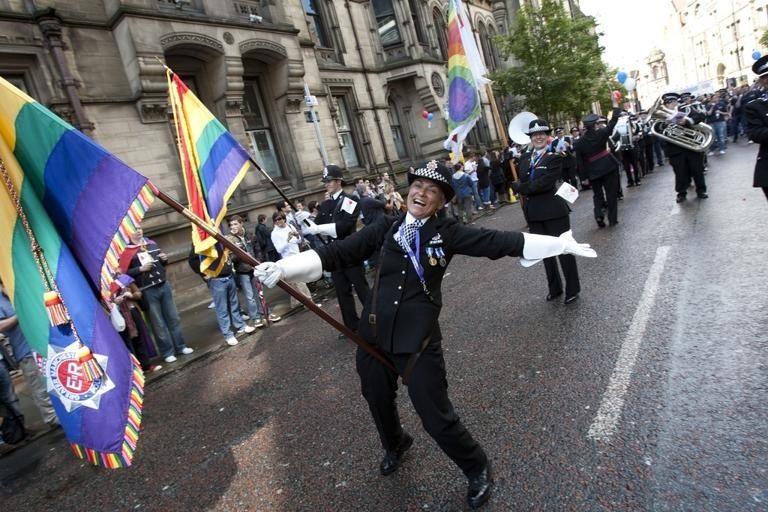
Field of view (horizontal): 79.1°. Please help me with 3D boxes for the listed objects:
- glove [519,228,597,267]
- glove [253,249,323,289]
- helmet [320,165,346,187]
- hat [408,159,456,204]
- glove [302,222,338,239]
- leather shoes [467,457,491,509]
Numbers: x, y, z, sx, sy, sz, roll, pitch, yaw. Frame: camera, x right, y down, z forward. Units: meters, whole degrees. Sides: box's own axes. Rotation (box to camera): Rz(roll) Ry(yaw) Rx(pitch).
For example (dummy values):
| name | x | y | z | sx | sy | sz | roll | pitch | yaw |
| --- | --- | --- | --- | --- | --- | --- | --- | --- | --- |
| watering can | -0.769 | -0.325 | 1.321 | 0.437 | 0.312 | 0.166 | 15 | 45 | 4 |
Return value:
| name | x | y | z | sx | sy | sz | roll | pitch | yaw |
| --- | --- | --- | --- | --- | --- | --- | --- | --- | --- |
| glove | 1.682 | -0.105 | 4.559 | 0.592 | 0.216 | 0.388 | 0 | 43 | -6 |
| glove | -0.932 | 0.115 | 4.498 | 0.603 | 0.281 | 0.338 | -5 | 15 | -37 |
| helmet | -0.913 | -1.419 | 8.214 | 0.396 | 0.305 | 0.455 | 4 | 11 | 23 |
| hat | 0.453 | -0.747 | 4.581 | 0.376 | 0.179 | 0.455 | 17 | 11 | -11 |
| glove | -1.040 | -0.396 | 7.171 | 0.289 | 0.318 | 0.962 | -1 | 2 | -35 |
| leather shoes | 0.912 | 2.113 | 4.391 | 0.157 | 0.180 | 0.434 | -7 | 37 | 32 |
